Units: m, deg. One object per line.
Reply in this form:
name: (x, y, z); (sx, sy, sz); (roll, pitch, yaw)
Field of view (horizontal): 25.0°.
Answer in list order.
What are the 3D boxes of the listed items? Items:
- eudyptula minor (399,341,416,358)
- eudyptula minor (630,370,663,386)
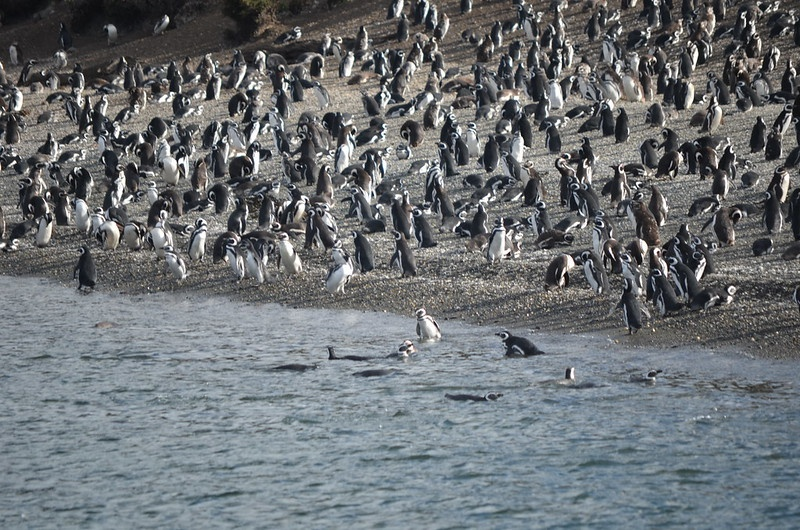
eudyptula minor: (0.164, 2.148, 47.181); (0.315, 0.416, 0.573); (-3, 0, 34)
eudyptula minor: (6.120, 2.813, 45.838); (0.986, 0.396, 0.290); (-3, 18, -6)
